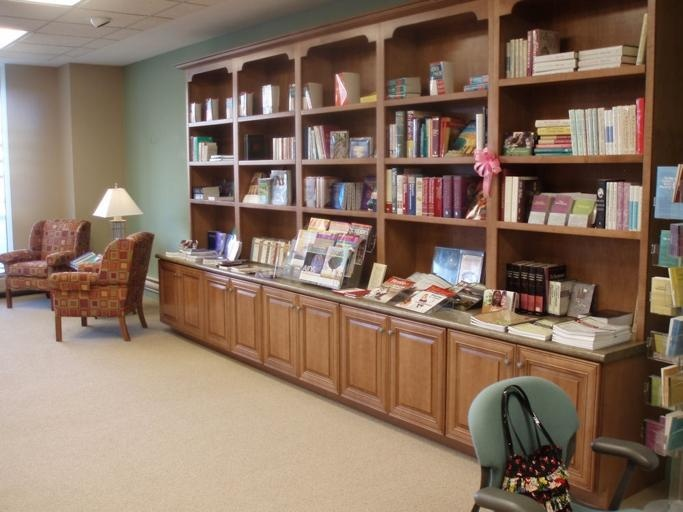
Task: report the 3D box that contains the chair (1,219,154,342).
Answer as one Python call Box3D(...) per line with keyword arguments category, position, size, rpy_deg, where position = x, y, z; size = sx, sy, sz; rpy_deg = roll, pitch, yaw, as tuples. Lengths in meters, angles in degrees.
Box3D(category="chair", position=(-3.175, 0.244, 6.346), size=(1.607, 1.407, 1.195), rpy_deg=(4, 3, 0))

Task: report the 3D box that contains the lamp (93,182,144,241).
Box3D(category="lamp", position=(-3.026, -0.467, 6.745), size=(0.495, 0.789, 0.605), rpy_deg=(4, 10, 37))
